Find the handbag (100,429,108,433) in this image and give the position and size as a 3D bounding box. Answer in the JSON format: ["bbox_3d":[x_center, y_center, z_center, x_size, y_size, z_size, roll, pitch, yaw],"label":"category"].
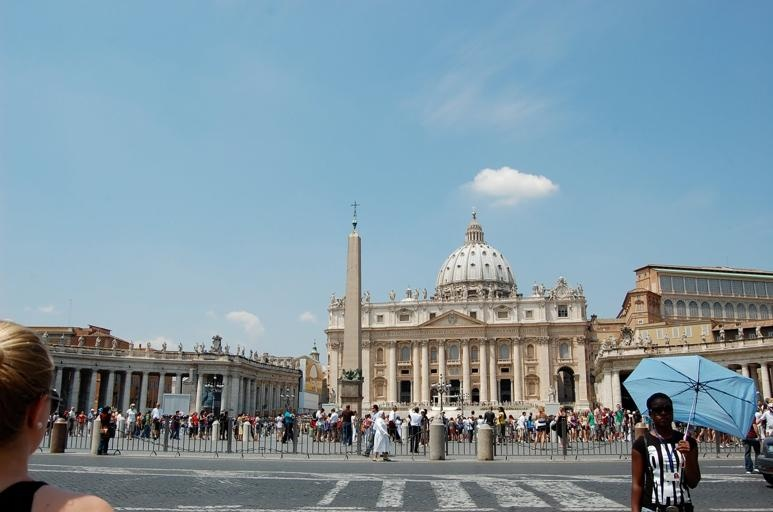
[{"bbox_3d":[-9.169,5.658,23.530,0.177,0.107,0.177,-5,-7,-7],"label":"handbag"}]
